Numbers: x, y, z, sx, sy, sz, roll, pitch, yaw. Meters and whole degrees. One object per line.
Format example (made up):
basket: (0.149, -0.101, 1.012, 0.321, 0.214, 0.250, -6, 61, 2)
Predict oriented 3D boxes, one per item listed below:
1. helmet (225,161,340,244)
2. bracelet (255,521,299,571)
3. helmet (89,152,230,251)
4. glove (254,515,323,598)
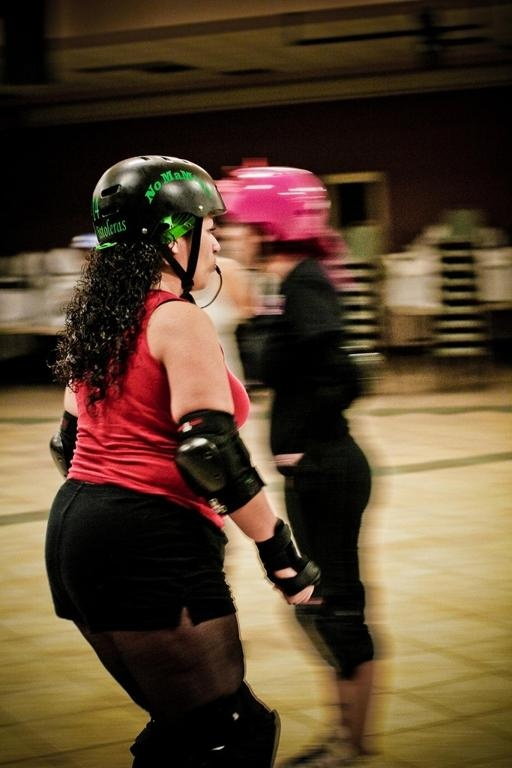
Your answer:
helmet: (0.035, -0.435, 2.068, 0.318, 0.194, 0.207, 2, 3, 15)
bracelet: (0.031, 0.250, 1.221, 0.069, 0.061, 0.046, -36, 11, 14)
helmet: (-0.146, -0.285, 1.296, 0.224, 0.142, 0.164, -10, 18, -19)
glove: (0.041, 0.267, 1.272, 0.083, 0.128, 0.055, -39, 22, -22)
